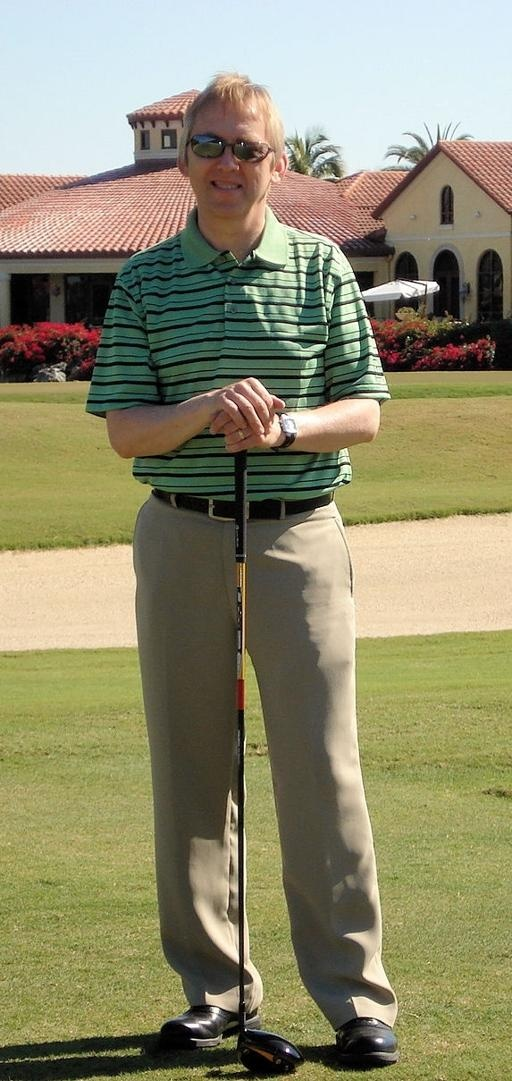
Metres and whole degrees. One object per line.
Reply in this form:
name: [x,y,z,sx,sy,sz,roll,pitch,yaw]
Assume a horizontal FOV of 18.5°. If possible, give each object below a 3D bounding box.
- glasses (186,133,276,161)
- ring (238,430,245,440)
glasses: [-0.052,-0.744,3.042,0.149,0.057,0.045,0,5,-5]
ring: [-0.029,-0.185,2.888,0.012,0.014,0.012,0,29,0]
